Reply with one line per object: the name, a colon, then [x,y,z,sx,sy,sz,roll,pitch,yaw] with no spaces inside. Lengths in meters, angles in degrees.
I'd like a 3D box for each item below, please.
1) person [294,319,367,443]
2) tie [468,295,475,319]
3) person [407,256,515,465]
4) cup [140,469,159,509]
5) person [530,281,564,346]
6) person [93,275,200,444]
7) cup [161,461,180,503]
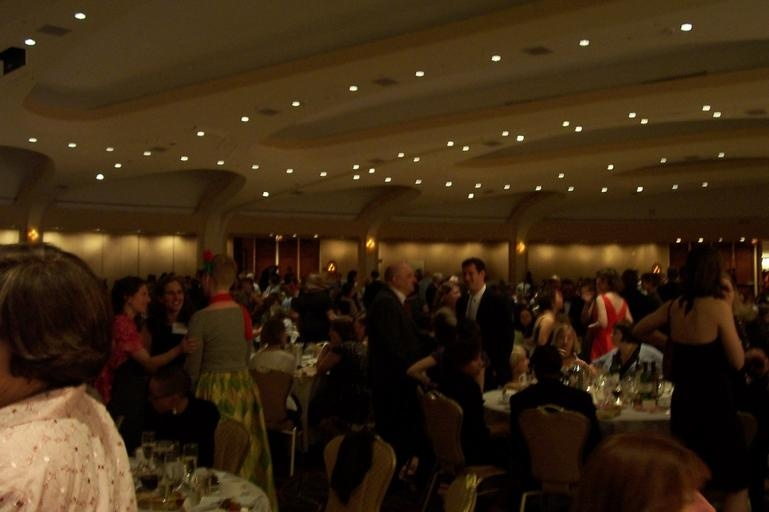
person: [-0.625,1.442,6.522,0.829,1.657,0.590,10,15,16]
tie: [0.867,0.503,5.554,0.043,0.205,0.143,4,16,-6]
person: [0.857,1.109,5.242,0.747,2.159,0.639,-3,8,31]
cup: [-1.209,1.186,2.861,0.102,0.208,0.286,4,-4,-24]
person: [2.129,0.771,7.326,0.280,1.070,0.428,-5,23,-18]
person: [-1.876,0.953,4.419,0.710,1.520,0.492,13,18,8]
cup: [-1.106,1.173,2.907,0.098,0.173,0.098,2,-4,0]
